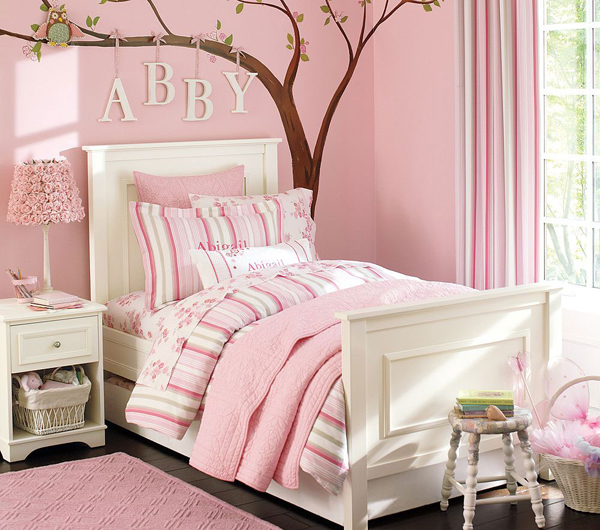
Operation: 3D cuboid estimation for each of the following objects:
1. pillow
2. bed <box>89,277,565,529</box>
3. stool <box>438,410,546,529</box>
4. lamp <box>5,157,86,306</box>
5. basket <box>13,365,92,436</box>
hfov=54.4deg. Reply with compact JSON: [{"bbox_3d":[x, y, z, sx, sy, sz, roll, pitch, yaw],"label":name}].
[{"bbox_3d":[-0.502,-0.195,2.860,0.885,0.701,0.206,-3,-21,-36],"label":"pillow"},{"bbox_3d":[0.102,0.425,2.148,1.058,0.412,0.722,3,6,44],"label":"bed"},{"bbox_3d":[0.616,0.629,1.888,0.325,0.356,0.418,-1,0,13],"label":"stool"},{"bbox_3d":[-1.173,-0.161,2.711,0.309,0.507,0.419,-1,1,-43],"label":"lamp"},{"bbox_3d":[-1.065,0.603,2.632,0.352,0.222,0.262,-1,1,-36],"label":"basket"}]
